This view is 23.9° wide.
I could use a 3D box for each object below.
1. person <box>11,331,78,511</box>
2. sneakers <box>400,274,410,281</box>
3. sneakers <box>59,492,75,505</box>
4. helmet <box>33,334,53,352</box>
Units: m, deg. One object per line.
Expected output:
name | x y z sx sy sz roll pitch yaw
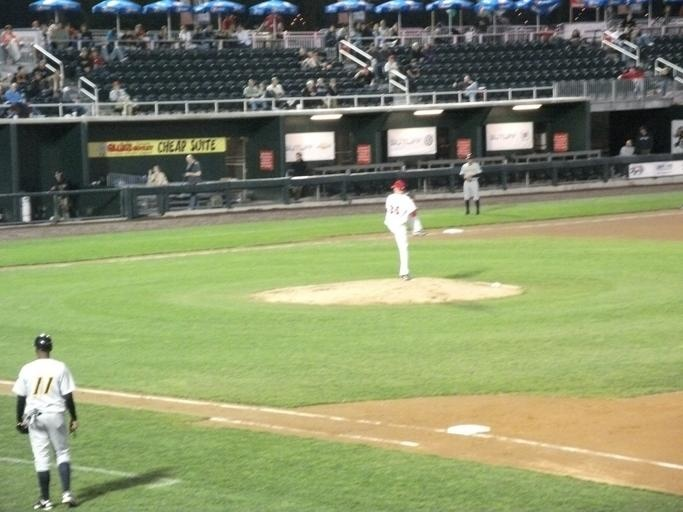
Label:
person | -6.219 3.517 33.797 1.219 3.610 1.050 -3 16 -4
sneakers | 1.673 0.587 43.200 0.200 0.081 0.193 3 9 6
sneakers | -5.749 5.120 33.830 0.181 0.157 0.384 2 9 -9
helmet | -6.300 1.844 33.925 0.428 0.389 0.478 1 15 -10
